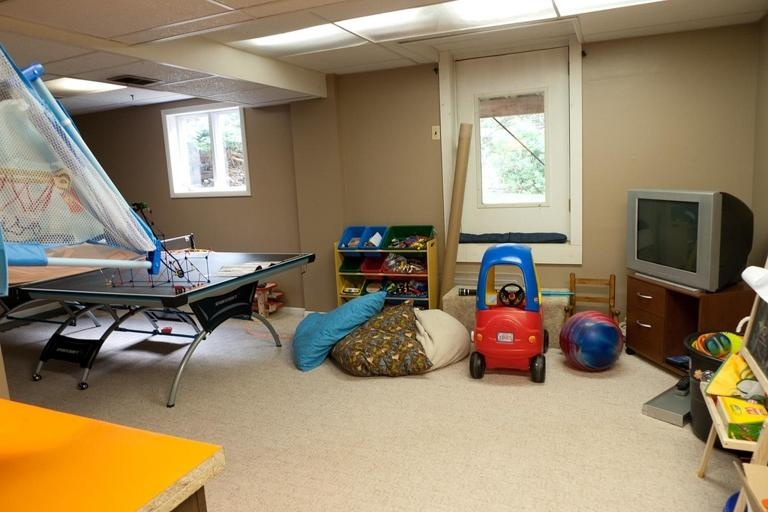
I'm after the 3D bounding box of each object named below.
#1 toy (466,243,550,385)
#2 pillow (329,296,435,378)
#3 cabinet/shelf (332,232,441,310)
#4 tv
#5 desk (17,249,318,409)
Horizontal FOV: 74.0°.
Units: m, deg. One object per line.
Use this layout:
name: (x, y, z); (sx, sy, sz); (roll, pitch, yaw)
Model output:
toy: (1.104, 0.486, 4.452); (0.647, 1.165, 0.592); (3, 12, 25)
pillow: (0.004, 0.804, 4.761); (0.840, 0.507, 0.500); (-1, 10, 1)
cabinet/shelf: (0.075, 0.172, 5.635); (0.946, 0.808, 0.327); (-1, -2, 17)
tv: (2.638, -0.149, 4.515); (0.878, 1.004, 1.206); (-3, 4, -15)
desk: (-2.097, 0.571, 4.807); (2.164, 1.153, 1.560); (3, 11, 22)
